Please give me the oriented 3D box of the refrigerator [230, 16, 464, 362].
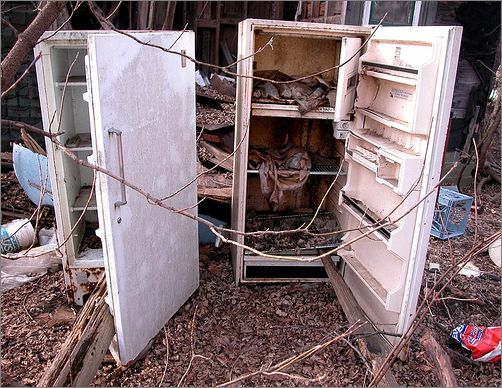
[{"bbox_3d":[0.858,-0.216,4.015,1.419,2.853,2.482,-12,29,-31],"label":"refrigerator"}]
